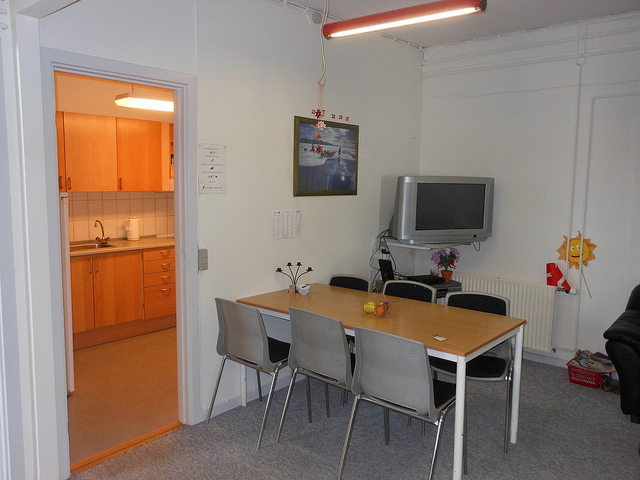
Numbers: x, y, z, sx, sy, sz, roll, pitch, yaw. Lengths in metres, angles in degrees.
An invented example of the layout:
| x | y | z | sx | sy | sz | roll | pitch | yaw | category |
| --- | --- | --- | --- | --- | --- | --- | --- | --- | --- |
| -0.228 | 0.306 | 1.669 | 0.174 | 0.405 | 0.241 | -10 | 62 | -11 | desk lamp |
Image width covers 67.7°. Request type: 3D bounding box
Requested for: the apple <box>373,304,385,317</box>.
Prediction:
| x | y | z | sx | sy | sz | roll | pitch | yaw | category |
| --- | --- | --- | --- | --- | --- | --- | --- | --- | --- |
| 0.459 | 0.536 | 3.660 | 0.087 | 0.090 | 0.049 | 4 | 2 | 26 | apple |

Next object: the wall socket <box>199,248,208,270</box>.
| x | y | z | sx | sy | sz | roll | pitch | yaw | category |
| --- | --- | --- | --- | --- | --- | --- | --- | --- | --- |
| -0.942 | 0.150 | 3.860 | 0.026 | 0.173 | 0.087 | 7 | 13 | 32 | wall socket |

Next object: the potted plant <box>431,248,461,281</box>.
| x | y | z | sx | sy | sz | roll | pitch | yaw | category |
| --- | --- | --- | --- | --- | --- | --- | --- | --- | --- |
| 1.509 | 0.264 | 5.686 | 0.347 | 0.382 | 0.327 | -10 | 7 | -29 | potted plant |

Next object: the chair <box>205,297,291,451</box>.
| x | y | z | sx | sy | sz | roll | pitch | yaw | category |
| --- | --- | --- | --- | --- | --- | --- | --- | --- | --- |
| -0.538 | 0.976 | 3.792 | 0.534 | 1.012 | 0.596 | 7 | 6 | 26 | chair |

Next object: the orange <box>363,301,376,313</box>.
| x | y | z | sx | sy | sz | roll | pitch | yaw | category |
| --- | --- | --- | --- | --- | --- | --- | --- | --- | --- |
| 0.386 | 0.510 | 3.657 | 0.064 | 0.067 | 0.080 | -7 | -11 | 16 | orange |

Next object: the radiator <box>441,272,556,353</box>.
| x | y | z | sx | sy | sz | roll | pitch | yaw | category |
| --- | --- | --- | --- | --- | --- | --- | --- | --- | --- |
| 2.095 | 0.776 | 5.285 | 0.243 | 0.730 | 0.970 | -10 | 15 | -43 | radiator |

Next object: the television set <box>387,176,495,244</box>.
| x | y | z | sx | sy | sz | roll | pitch | yaw | category |
| --- | --- | --- | --- | --- | --- | --- | --- | --- | --- |
| 1.390 | -0.375 | 5.423 | 1.054 | 0.770 | 0.604 | -1 | 13 | -6 | television set |

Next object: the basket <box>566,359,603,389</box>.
| x | y | z | sx | sy | sz | roll | pitch | yaw | category |
| --- | --- | --- | --- | --- | --- | --- | --- | --- | --- |
| 2.531 | 1.281 | 4.562 | 0.215 | 0.141 | 0.160 | 7 | 6 | 42 | basket |

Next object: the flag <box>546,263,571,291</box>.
| x | y | z | sx | sy | sz | roll | pitch | yaw | category |
| --- | --- | --- | --- | --- | --- | --- | --- | --- | --- |
| 2.503 | 0.367 | 4.982 | 0.233 | 0.244 | 0.080 | 6 | 13 | 27 | flag |

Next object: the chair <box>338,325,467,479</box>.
| x | y | z | sx | sy | sz | roll | pitch | yaw | category |
| --- | --- | --- | --- | --- | --- | --- | --- | --- | --- |
| 0.585 | 1.120 | 3.296 | 0.721 | 1.302 | 0.745 | 7 | 16 | 32 | chair |

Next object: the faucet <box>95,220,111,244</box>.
| x | y | z | sx | sy | sz | roll | pitch | yaw | category |
| --- | --- | --- | --- | --- | --- | --- | --- | --- | --- |
| -2.622 | -0.106 | 5.731 | 0.158 | 0.264 | 0.268 | -4 | 12 | -20 | faucet |
